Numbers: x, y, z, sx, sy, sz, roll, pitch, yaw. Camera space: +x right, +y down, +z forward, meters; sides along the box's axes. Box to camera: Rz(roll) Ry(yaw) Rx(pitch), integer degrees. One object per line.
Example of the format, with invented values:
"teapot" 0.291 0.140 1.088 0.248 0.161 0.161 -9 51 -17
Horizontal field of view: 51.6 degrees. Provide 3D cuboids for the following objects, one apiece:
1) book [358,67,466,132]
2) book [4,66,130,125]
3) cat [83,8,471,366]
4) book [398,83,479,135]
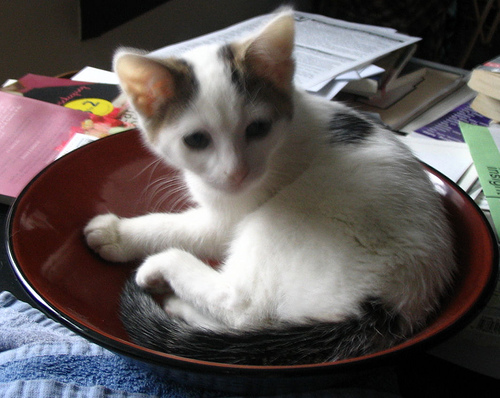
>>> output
"book" 0.506 -0.298 1.539 0.280 0.070 0.287 -31 38 -17
"book" -0.487 -0.294 1.514 0.242 0.064 0.267 16 32 -2
"cat" 0.009 -0.054 1.078 0.587 0.736 0.485 5 43 -26
"book" 0.541 -0.252 1.491 0.220 0.010 0.077 -43 42 -15
